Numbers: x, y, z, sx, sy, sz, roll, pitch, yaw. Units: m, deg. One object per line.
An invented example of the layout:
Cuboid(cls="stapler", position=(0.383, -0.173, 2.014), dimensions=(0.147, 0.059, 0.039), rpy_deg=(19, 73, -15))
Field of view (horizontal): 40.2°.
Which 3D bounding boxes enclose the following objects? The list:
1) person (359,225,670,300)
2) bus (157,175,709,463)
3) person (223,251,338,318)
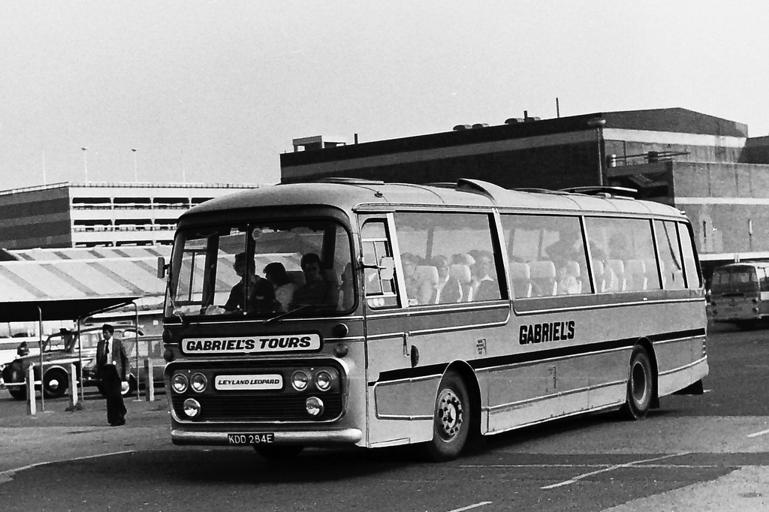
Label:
Cuboid(cls="person", position=(2.065, 0.097, 17.839), dimensions=(1.166, 1.368, 4.306), rpy_deg=(-5, -6, 44))
Cuboid(cls="bus", position=(1.996, 1.201, 20.005), dimensions=(3.835, 4.632, 12.158), rpy_deg=(-4, -6, 37))
Cuboid(cls="person", position=(-1.452, 0.411, 15.674), dimensions=(1.287, 0.534, 0.951), rpy_deg=(-2, 0, -29))
